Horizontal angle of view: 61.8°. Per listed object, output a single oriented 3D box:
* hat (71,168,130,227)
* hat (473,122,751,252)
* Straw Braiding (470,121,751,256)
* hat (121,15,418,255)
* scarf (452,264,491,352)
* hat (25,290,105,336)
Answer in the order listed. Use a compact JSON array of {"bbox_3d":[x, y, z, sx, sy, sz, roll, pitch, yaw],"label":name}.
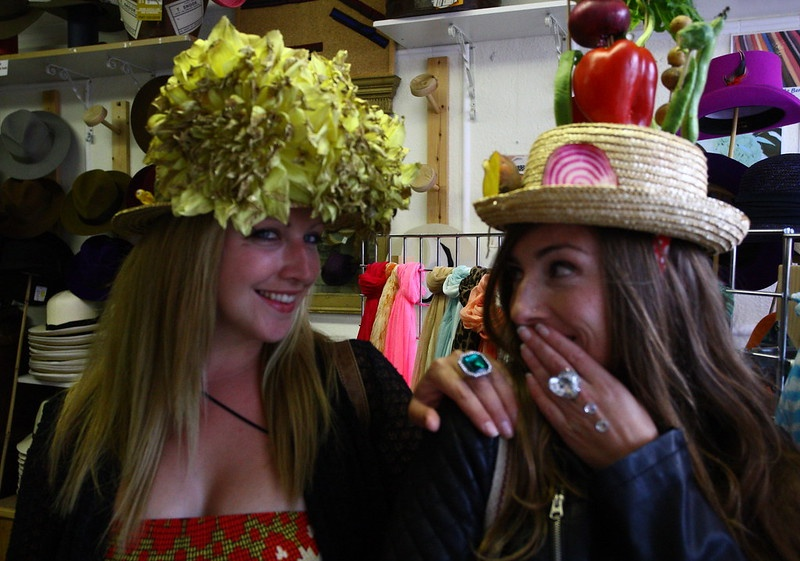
[{"bbox_3d":[-1.576,-0.449,3.636,0.313,0.390,0.130,0,-29,9],"label":"hat"},{"bbox_3d":[0.555,-0.241,1.724,0.689,0.284,0.230,4,0,-3],"label":"hat"},{"bbox_3d":[0.592,-0.250,1.890,0.748,0.269,0.769,7,0,16],"label":"Straw Braiding"},{"bbox_3d":[-0.294,-0.373,1.752,0.596,0.361,0.638,6,36,6],"label":"hat"},{"bbox_3d":[0.279,0.106,2.656,0.088,0.309,0.229,1,-5,3],"label":"scarf"},{"bbox_3d":[-1.591,0.139,3.232,0.355,0.157,0.364,6,18,43],"label":"hat"}]
